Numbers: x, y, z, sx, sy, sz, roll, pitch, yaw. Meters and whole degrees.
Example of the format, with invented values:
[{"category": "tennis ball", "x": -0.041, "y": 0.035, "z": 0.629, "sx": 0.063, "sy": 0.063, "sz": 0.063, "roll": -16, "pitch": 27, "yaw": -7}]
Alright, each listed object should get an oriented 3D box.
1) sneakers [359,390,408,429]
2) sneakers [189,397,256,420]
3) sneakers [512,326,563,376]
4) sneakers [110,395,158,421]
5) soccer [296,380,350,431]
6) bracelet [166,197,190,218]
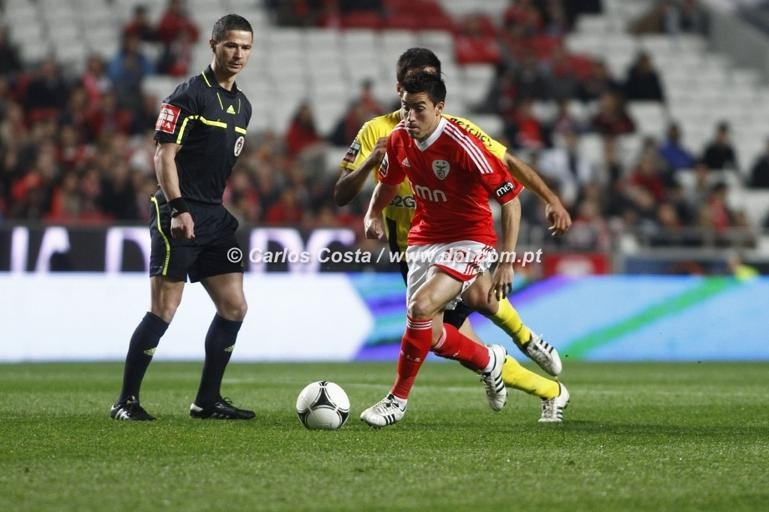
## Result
[{"category": "sneakers", "x": -0.002, "y": 1.419, "z": 10.184, "sx": 0.198, "sy": 0.272, "sz": 0.547, "roll": 30, "pitch": 15, "yaw": 35}, {"category": "sneakers", "x": -1.530, "y": 1.471, "z": 10.566, "sx": 0.649, "sy": 0.235, "sz": 0.225, "roll": 1, "pitch": -14, "yaw": -3}, {"category": "sneakers", "x": 1.508, "y": 0.971, "z": 10.736, "sx": 0.625, "sy": 0.223, "sz": 0.270, "roll": 44, "pitch": 28, "yaw": 4}, {"category": "sneakers", "x": -2.297, "y": 1.421, "z": 10.293, "sx": 0.342, "sy": 0.166, "sz": 0.211, "roll": -5, "pitch": -7, "yaw": 37}, {"category": "soccer", "x": -0.520, "y": 1.391, "z": 10.180, "sx": 0.442, "sy": 0.429, "sz": 0.441, "roll": 10, "pitch": -14, "yaw": -16}, {"category": "bracelet", "x": -1.853, "y": -0.443, "z": 10.143, "sx": 0.182, "sy": 0.142, "sz": 0.180, "roll": -15, "pitch": -1, "yaw": -15}]
